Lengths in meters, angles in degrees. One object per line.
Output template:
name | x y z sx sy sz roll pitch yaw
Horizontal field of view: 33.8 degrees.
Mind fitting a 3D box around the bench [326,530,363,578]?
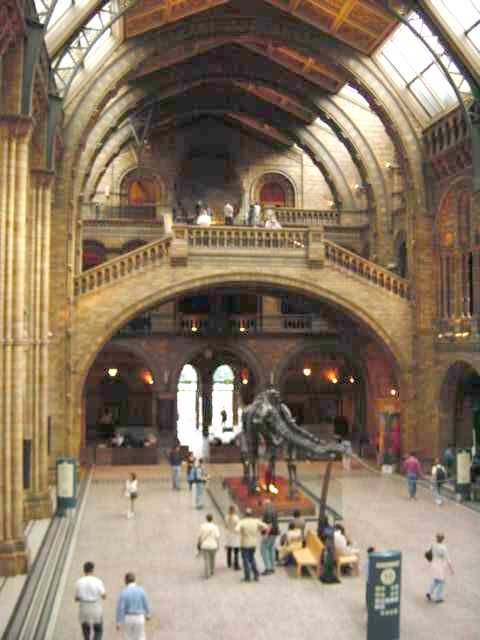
bench | 1.658 3.612 12.182 0.314 0.701 0.596 -2 -6 18
